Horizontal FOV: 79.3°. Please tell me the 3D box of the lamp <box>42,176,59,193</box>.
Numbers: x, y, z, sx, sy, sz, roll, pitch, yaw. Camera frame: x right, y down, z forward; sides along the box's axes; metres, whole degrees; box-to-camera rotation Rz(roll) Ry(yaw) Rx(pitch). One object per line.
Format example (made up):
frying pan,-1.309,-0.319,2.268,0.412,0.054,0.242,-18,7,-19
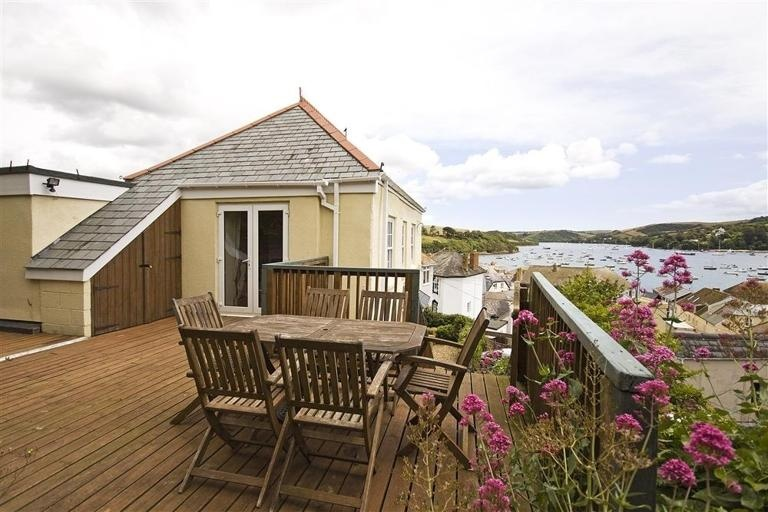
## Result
lamp,-7.023,-1.512,9.798,0.298,0.303,0.258,20,10,38
